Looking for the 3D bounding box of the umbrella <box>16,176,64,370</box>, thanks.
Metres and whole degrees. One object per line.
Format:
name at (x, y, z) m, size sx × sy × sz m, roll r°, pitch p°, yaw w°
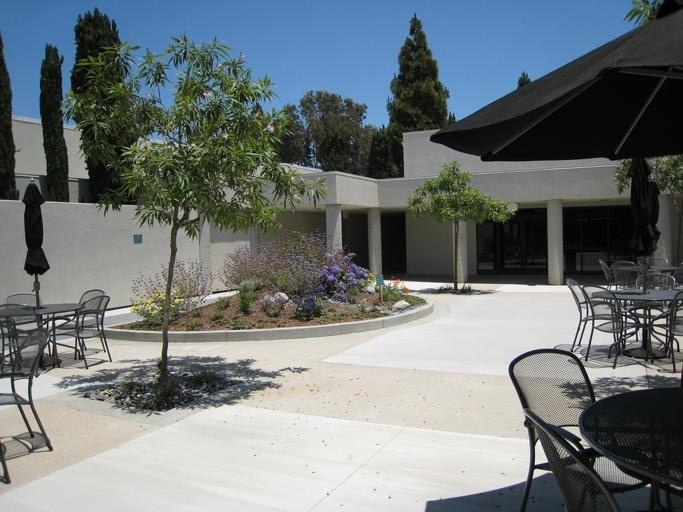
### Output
umbrella at (-5.092, 0.026, 8.741) m, size 0.605 × 2.838 × 0.644 m, roll -2°, pitch 37°, yaw -29°
